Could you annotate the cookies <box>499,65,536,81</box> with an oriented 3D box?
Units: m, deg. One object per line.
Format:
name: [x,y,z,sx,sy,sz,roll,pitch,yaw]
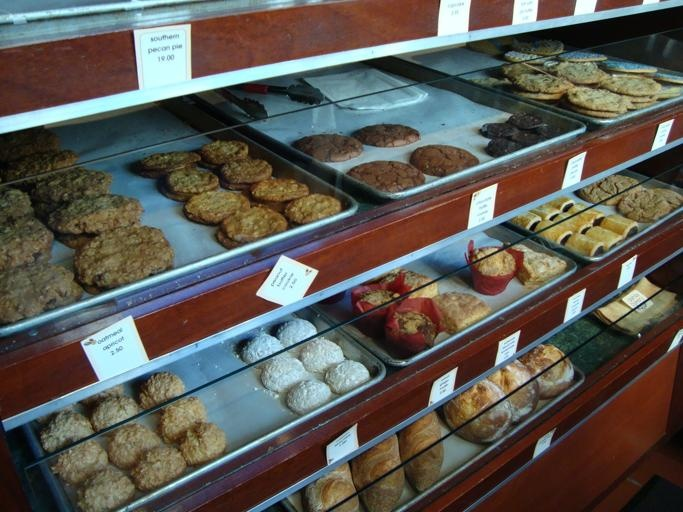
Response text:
cookies: [0.556,-0.583,1.552,0.099,0.020,0.080,-13,44,-16]

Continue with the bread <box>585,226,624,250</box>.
bread: [0.980,-0.075,1.819,0.108,0.028,0.106,-20,37,-34]

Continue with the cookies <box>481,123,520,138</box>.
cookies: [0.456,-0.356,1.389,0.088,0.015,0.056,8,36,12]

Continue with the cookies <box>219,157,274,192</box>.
cookies: [-0.222,-0.193,1.117,0.116,0.024,0.088,-2,31,-4]

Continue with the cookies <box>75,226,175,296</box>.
cookies: [-0.398,0.001,0.878,0.162,0.048,0.149,-14,37,-21]

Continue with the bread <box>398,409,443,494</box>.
bread: [0.249,0.597,1.503,0.159,0.084,0.219,8,69,-8]

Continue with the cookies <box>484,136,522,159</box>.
cookies: [0.438,-0.293,1.319,0.080,0.016,0.073,23,47,33]

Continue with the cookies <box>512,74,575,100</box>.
cookies: [0.629,-0.535,1.527,0.159,0.038,0.123,-6,36,-11]

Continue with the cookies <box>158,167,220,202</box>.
cookies: [-0.329,-0.169,1.060,0.112,0.023,0.102,18,33,24]

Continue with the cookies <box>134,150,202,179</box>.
cookies: [-0.396,-0.207,1.101,0.131,0.019,0.063,-13,46,-27]

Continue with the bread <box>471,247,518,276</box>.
bread: [0.491,0.021,1.577,0.125,0.029,0.119,-21,36,-30]

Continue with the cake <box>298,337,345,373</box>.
cake: [-0.076,0.273,1.371,0.150,0.039,0.117,1,29,-23]

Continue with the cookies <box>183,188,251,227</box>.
cookies: [-0.268,-0.114,1.025,0.118,0.019,0.093,-4,29,-10]

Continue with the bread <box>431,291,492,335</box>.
bread: [0.369,0.177,1.510,0.157,0.036,0.142,-16,36,-24]

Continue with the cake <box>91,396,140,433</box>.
cake: [-0.537,0.353,1.138,0.082,0.028,0.094,39,19,19]

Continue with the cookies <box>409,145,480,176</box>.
cookies: [0.257,-0.248,1.257,0.140,0.021,0.128,-20,37,-35]

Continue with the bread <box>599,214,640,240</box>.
bread: [1.103,-0.104,1.932,0.128,0.052,0.125,-20,35,-29]

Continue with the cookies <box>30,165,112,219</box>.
cookies: [-0.528,-0.131,0.983,0.109,0.038,0.151,41,48,20]

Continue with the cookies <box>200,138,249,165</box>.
cookies: [-0.279,-0.246,1.156,0.115,0.022,0.063,-7,45,-10]

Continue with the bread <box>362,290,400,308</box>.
bread: [0.108,0.124,1.418,0.079,0.014,0.053,-13,32,-30]

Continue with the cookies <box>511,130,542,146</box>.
cookies: [0.519,-0.334,1.375,0.075,0.015,0.062,-14,36,-19]

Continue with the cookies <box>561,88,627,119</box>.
cookies: [0.787,-0.447,1.497,0.172,0.037,0.131,6,33,0]

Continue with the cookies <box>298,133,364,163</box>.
cookies: [-0.029,-0.264,1.235,0.143,0.013,0.107,-5,35,-10]

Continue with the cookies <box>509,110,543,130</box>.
cookies: [0.541,-0.399,1.441,0.089,0.016,0.077,-15,35,-31]

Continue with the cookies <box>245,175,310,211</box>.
cookies: [-0.141,-0.145,1.075,0.109,0.023,0.084,5,31,7]

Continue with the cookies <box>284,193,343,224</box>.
cookies: [-0.063,-0.102,1.042,0.108,0.017,0.072,-19,38,-24]

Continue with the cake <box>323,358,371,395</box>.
cake: [0.013,0.315,1.284,0.109,0.025,0.079,-6,31,2]

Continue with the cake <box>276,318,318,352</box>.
cake: [-0.129,0.214,1.396,0.115,0.026,0.086,-3,34,-3]

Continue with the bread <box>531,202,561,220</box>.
bread: [0.808,-0.173,1.967,0.097,0.030,0.101,31,46,26]

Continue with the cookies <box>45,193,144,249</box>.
cookies: [-0.475,-0.065,0.927,0.163,0.035,0.101,-14,39,-22]

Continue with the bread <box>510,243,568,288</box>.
bread: [0.647,0.036,1.685,0.201,0.048,0.170,-13,37,-26]

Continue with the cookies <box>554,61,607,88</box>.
cookies: [0.776,-0.585,1.604,0.184,0.038,0.112,-5,39,-10]

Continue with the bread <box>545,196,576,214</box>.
bread: [0.852,-0.198,1.903,0.087,0.042,0.076,-23,28,-13]
